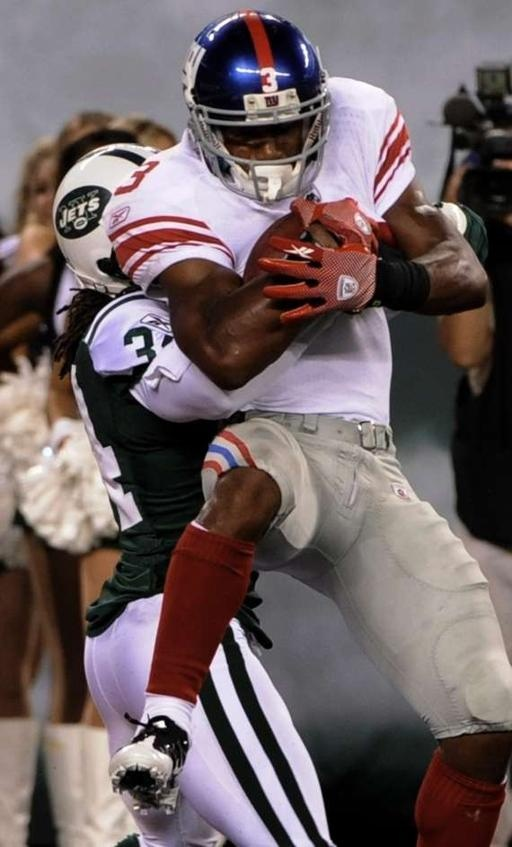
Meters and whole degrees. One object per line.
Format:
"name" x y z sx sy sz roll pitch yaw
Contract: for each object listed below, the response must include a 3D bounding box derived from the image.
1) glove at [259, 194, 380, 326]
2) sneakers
"glove" 0.074 -0.183 0.946 0.158 0.040 0.139 8 66 -6
"sneakers" -0.115 0.361 0.947 0.073 0.053 0.123 11 16 -1
